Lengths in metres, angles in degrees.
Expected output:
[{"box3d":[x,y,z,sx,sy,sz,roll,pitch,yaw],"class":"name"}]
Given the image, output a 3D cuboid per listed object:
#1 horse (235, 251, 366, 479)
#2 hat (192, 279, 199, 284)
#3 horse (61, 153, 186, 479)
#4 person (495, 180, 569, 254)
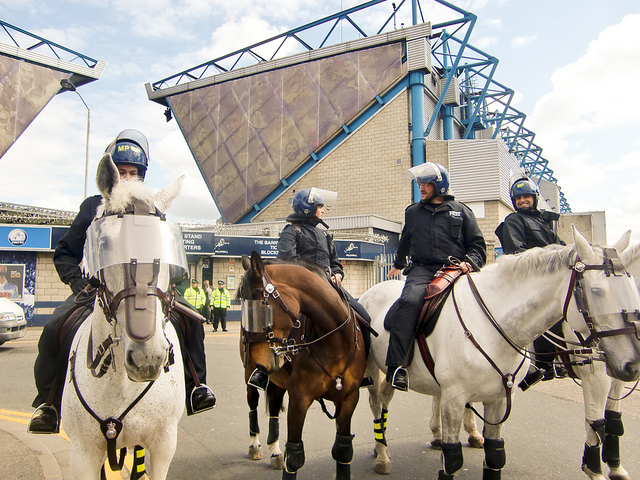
[{"box3d":[-0.179,1.417,6.838,1.532,2.561,0.618,0,-3,-31],"class":"horse"},{"box3d":[-4.708,1.571,22.696,0.277,0.148,0.217,13,-9,-18],"class":"hat"},{"box3d":[-1.756,0.798,5.627,1.031,3.057,1.526,0,-3,-33],"class":"horse"},{"box3d":[2.901,-0.225,8.293,0.816,1.396,0.727,-4,-17,4],"class":"person"}]
